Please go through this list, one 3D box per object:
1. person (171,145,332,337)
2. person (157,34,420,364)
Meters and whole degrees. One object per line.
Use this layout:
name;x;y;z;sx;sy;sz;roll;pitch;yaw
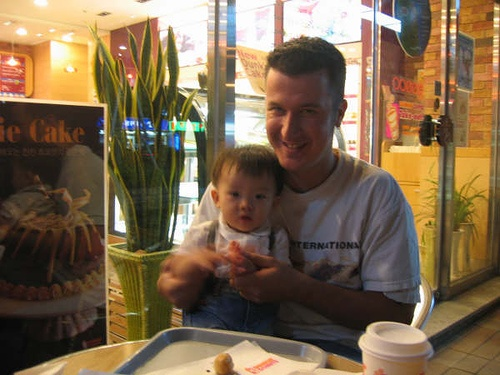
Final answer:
person;-0.058;0.261;1.722;0.509;0.872;0.465;1;2;1
person;0.292;0.023;1.616;0.755;1.246;0.354;-2;10;-4
